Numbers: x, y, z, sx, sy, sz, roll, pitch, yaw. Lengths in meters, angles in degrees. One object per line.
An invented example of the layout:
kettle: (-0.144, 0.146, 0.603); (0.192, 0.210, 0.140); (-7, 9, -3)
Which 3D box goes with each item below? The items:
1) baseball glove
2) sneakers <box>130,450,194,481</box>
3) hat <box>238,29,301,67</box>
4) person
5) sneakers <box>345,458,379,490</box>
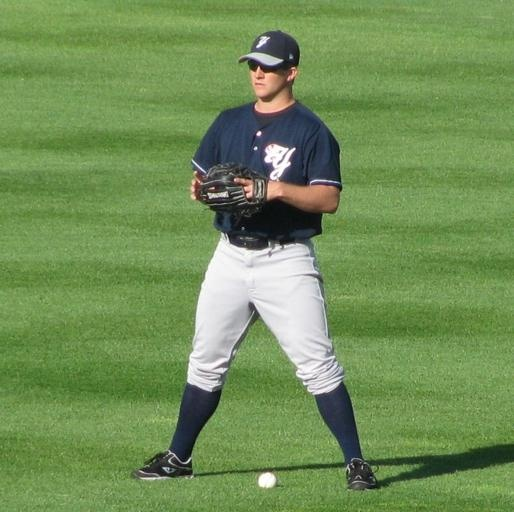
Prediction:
baseball glove: (-0.148, -0.410, 8.190); (0.474, 0.305, 0.145); (14, 15, 26)
sneakers: (-0.619, 1.389, 8.604); (0.410, 0.197, 0.162); (1, -7, -3)
hat: (0.087, -1.337, 8.381); (0.315, 0.242, 0.432); (14, 13, 38)
person: (0.051, 0.069, 8.409); (1.366, 2.937, 0.576); (7, 13, 4)
sneakers: (0.677, 1.419, 8.509); (0.209, 0.243, 0.517); (-4, -7, 9)
